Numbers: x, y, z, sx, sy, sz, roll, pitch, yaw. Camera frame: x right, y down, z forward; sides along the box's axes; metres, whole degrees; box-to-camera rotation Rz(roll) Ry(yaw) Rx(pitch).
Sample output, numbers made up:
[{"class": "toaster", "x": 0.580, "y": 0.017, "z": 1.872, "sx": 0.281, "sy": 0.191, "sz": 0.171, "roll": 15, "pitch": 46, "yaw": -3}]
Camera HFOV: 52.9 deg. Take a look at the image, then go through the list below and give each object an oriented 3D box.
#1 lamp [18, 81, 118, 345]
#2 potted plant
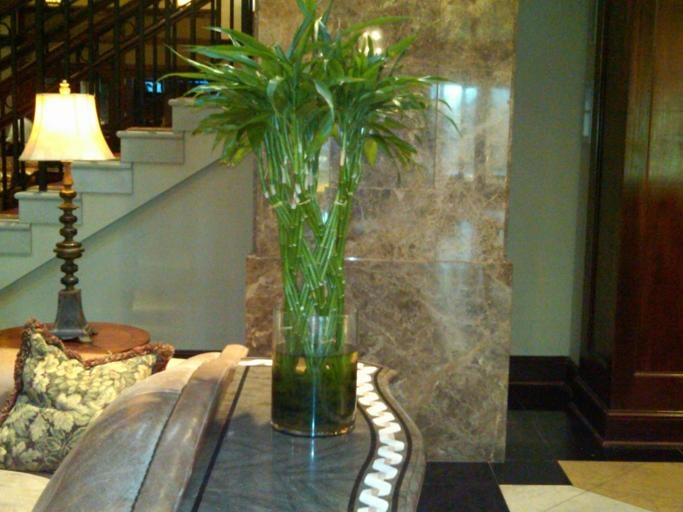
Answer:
[{"class": "lamp", "x": -1.356, "y": -0.246, "z": 3.448, "sx": 0.414, "sy": 1.271, "sz": 0.584, "roll": -4, "pitch": 7, "yaw": -21}, {"class": "potted plant", "x": -0.071, "y": -0.180, "z": 2.425, "sx": 0.799, "sy": 1.381, "sz": 1.001, "roll": -2, "pitch": 6, "yaw": 4}]
